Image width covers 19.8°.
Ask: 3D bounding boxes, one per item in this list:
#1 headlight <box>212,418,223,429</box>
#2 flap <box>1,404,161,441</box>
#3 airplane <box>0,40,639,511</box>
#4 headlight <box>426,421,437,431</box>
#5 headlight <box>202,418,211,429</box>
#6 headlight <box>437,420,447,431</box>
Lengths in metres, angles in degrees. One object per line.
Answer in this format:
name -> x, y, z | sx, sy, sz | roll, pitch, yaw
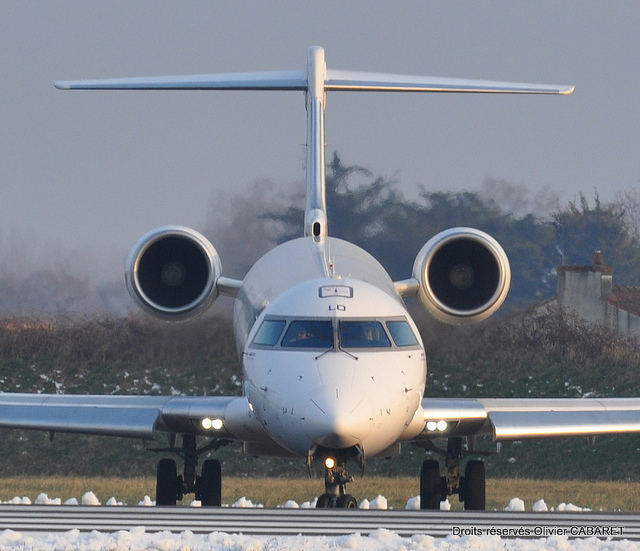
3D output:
headlight -> -1.442, 2.065, 26.115 | 0.162, 0.162, 0.061 | 4, 8, 17
flap -> -3.406, 2.038, 26.269 | 2.259, 0.430, 0.406 | 3, 8, 4
airplane -> 0.036, 0.834, 27.471 | 7.862, 4.752, 7.158 | 0, 1, -3
headlight -> 1.591, 2.091, 25.968 | 0.112, 0.133, 0.028 | 2, 2, -9
headlight -> -1.606, 2.069, 26.164 | 0.117, 0.162, 0.077 | 1, 8, -4
headlight -> 1.755, 2.097, 26.032 | 0.161, 0.149, 0.045 | -2, 8, -26
